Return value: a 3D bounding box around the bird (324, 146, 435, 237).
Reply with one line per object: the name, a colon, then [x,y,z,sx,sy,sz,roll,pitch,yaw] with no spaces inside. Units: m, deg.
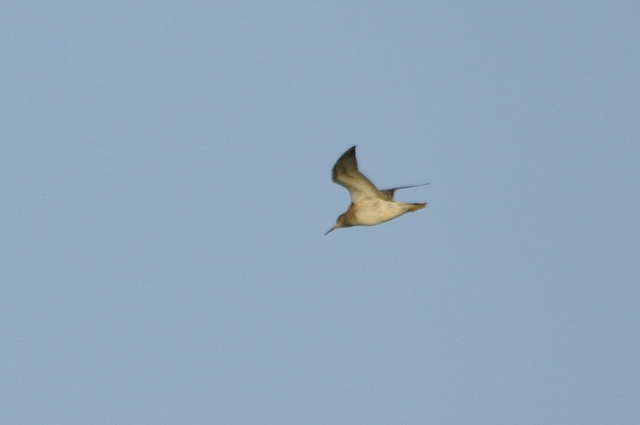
bird: [0.718,-0.242,14.692,1.442,0.681,1.202,-8,-22,16]
